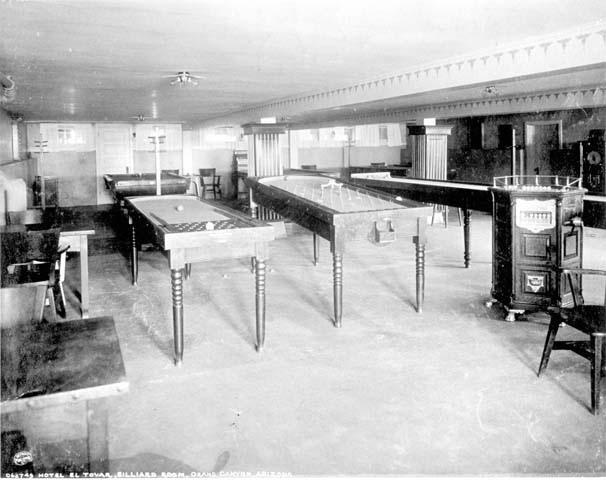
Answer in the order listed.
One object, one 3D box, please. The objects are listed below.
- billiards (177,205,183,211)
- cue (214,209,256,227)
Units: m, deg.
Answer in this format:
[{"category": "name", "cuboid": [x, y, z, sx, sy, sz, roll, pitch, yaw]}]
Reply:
[{"category": "billiards", "cuboid": [-1.416, -0.367, 5.719, 0.051, 0.033, 0.056, 9, 10, -28]}, {"category": "cue", "cuboid": [-0.724, -0.285, 5.104, 0.160, 0.061, 1.504, -3, 13, -19]}]
